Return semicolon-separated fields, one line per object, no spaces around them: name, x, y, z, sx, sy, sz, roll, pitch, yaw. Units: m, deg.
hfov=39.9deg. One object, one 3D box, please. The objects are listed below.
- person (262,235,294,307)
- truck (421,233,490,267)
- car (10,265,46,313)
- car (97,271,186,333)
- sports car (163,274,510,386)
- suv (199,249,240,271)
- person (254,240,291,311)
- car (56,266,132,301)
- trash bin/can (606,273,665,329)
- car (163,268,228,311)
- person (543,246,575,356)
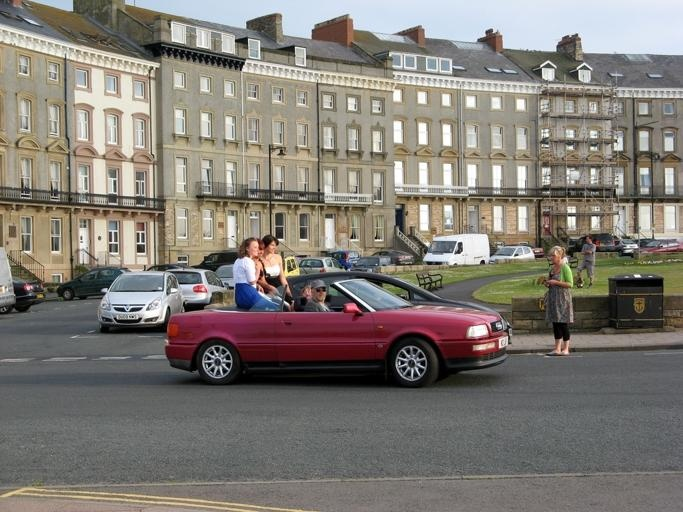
person;-1.278;0.188;18.602;0.513;1.488;0.444;-5;4;19
truck;6.866;-0.387;58.745;3.460;2.081;3.464;0;3;29
car;-14.026;1.373;41.766;0.950;1.598;0.912;-5;6;23
car;-5.750;1.371;27.607;1.697;1.288;2.865;-2;-5;2
sports car;-0.202;1.374;17.238;5.752;1.812;2.992;2;0;15
suv;-6.572;0.103;49.439;2.011;1.097;1.204;1;0;16
person;-1.342;0.642;18.691;0.589;2.025;0.624;-8;1;-4
car;-11.908;1.306;47.375;4.515;1.748;1.953;0;0;14
trash bin/can;7.171;1.052;22.932;1.124;1.419;0.915;-1;4;12
car;-4.980;1.024;32.569;1.613;1.567;1.907;-1;3;-8
person;4.462;0.878;19.721;0.744;2.210;0.736;-5;8;-28
